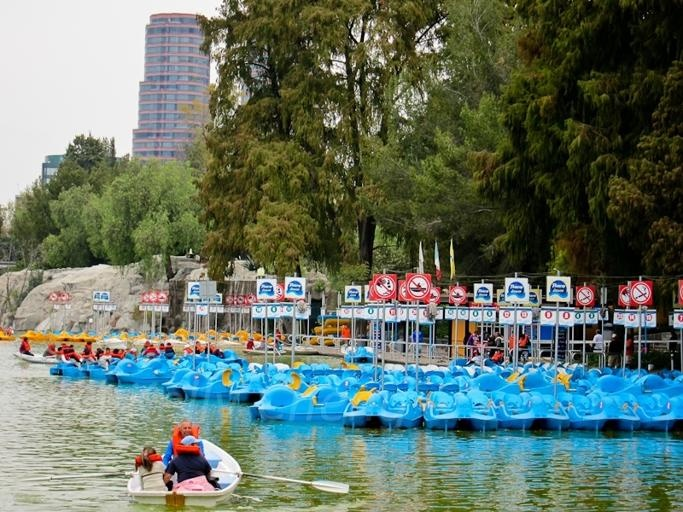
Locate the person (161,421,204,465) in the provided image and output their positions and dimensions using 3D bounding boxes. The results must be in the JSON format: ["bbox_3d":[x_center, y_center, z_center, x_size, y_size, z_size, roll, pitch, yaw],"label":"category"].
[{"bbox_3d":[-4.575,5.410,32.257,0.869,0.667,1.441,0,-5,-2],"label":"person"}]

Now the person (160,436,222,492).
[{"bbox_3d":[-4.289,5.996,31.979,1.022,1.050,2.816,4,13,-6],"label":"person"}]

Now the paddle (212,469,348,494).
[{"bbox_3d":[-1.875,6.693,33.119,3.076,0.307,0.311,7,-13,-1],"label":"paddle"}]

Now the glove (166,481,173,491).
[{"bbox_3d":[-4.856,6.503,31.704,0.167,0.401,0.185,2,5,9],"label":"glove"}]
